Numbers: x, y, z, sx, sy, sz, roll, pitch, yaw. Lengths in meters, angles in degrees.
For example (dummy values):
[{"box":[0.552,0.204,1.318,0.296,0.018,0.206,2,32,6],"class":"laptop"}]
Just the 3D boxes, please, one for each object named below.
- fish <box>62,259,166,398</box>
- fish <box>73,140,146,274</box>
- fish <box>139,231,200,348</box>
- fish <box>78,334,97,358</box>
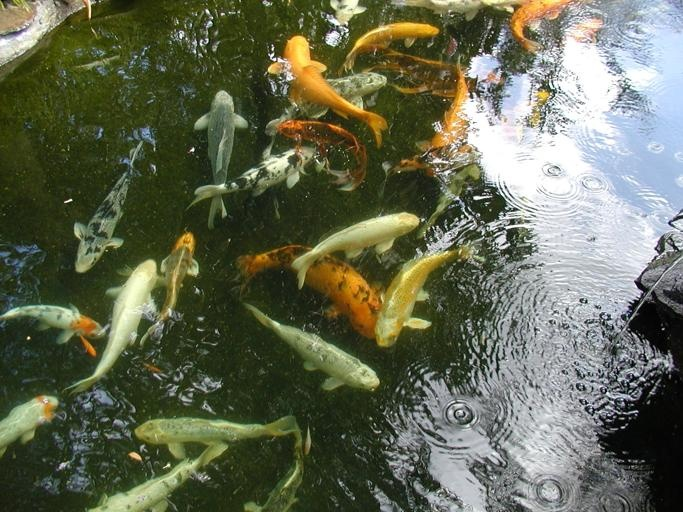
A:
[{"box":[-2.147,0.570,7.611,0.488,0.469,1.534,33,69,-22],"class":"fish"},{"box":[-2.369,-0.505,7.813,0.396,0.347,1.201,21,75,-13],"class":"fish"},{"box":[-1.667,0.353,7.665,0.352,0.387,1.286,13,79,4],"class":"fish"},{"box":[-2.459,0.865,7.431,0.191,0.065,0.093,52,28,-1],"class":"fish"}]
